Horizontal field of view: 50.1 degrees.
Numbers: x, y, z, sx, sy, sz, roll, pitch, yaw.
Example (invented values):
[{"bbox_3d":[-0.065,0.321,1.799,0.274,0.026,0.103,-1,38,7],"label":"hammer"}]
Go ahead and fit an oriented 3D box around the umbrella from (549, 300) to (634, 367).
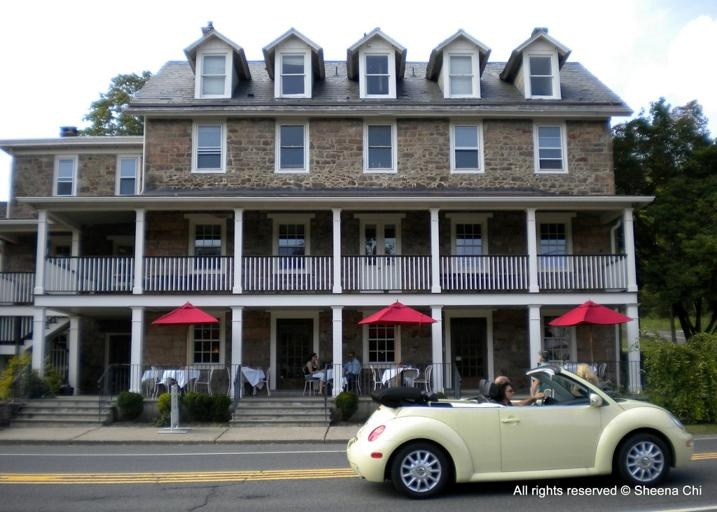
[{"bbox_3d":[7.016,2.253,24.011,2.510,1.741,2.568,-6,-6,30],"label":"umbrella"}]
